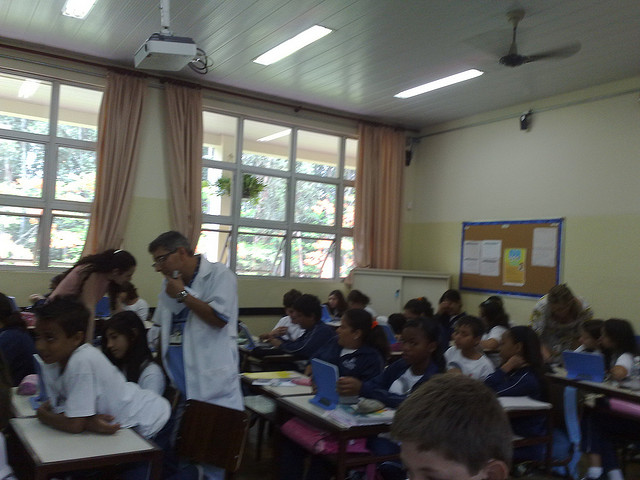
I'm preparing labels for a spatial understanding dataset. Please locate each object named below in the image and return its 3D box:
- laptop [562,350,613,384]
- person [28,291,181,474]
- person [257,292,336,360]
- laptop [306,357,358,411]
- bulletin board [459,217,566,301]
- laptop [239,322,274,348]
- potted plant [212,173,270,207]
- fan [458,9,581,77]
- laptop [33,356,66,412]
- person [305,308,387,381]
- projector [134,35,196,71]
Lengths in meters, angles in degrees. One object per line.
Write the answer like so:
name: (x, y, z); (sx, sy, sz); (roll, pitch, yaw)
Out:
laptop: (2.007, 0.951, 3.583); (0.288, 0.195, 0.245); (-1, 1, 43)
person: (-1.070, 0.643, 2.340); (0.648, 0.886, 0.318); (4, -1, -20)
person: (-0.224, 0.875, 4.592); (0.596, 0.687, 1.010); (-4, -2, -24)
laptop: (0.078, 0.832, 2.859); (0.288, 0.256, 0.299); (4, -1, -36)
bulletin board: (2.864, 0.275, 6.900); (0.057, 0.949, 1.412); (7, -7, -33)
laptop: (-0.630, 0.951, 4.653); (0.262, 0.222, 0.352); (-11, -2, -15)
potted plant: (-1.250, -0.825, 7.420); (0.731, 0.357, 0.536); (2, -4, -16)
fan: (2.139, -1.971, 5.189); (0.866, 0.342, 0.806); (5, -18, -3)
laptop: (-1.437, 0.756, 2.458); (0.080, 0.279, 0.315); (-3, 12, -30)
person: (0.193, 0.782, 3.314); (0.461, 0.549, 0.706); (1, 2, -24)
projector: (-1.323, -1.598, 4.036); (0.362, 0.122, 0.454); (2, -8, -25)
